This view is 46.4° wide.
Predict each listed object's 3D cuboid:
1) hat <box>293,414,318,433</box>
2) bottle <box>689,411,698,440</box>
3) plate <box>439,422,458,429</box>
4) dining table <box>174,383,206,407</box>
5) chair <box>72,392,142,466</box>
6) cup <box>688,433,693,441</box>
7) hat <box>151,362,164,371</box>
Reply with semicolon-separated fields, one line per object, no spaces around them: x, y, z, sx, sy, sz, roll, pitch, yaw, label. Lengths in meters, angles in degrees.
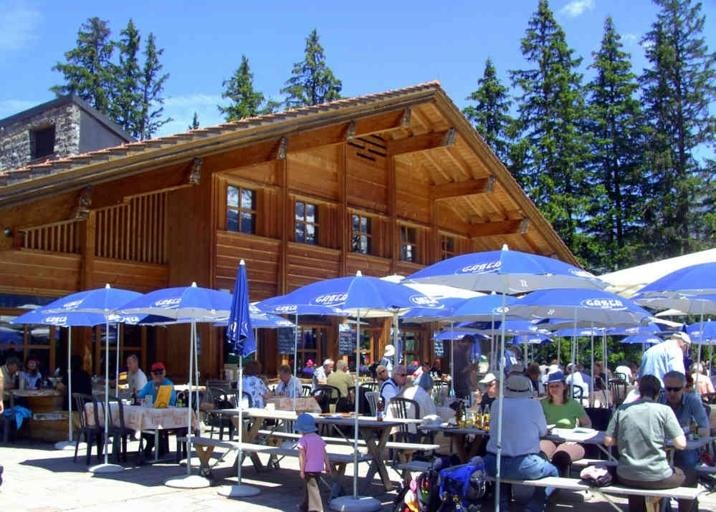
-0.892;2.825;14.144;0.355;0.331;0.509;-1;-12;-3;hat
5.663;2.878;14.085;0.122;0.380;0.311;-6;-13;21;bottle
1.665;3.096;15.348;0.242;0.068;0.246;2;-9;-11;plate
-3.870;3.196;19.187;0.808;0.396;1.274;4;-8;-26;dining table
-5.161;3.493;17.285;1.348;1.883;1.501;4;-5;-42;chair
5.552;3.028;14.001;0.102;0.114;0.102;0;-7;0;cup
-4.085;2.251;17.182;0.234;0.171;0.324;-1;1;14;hat
